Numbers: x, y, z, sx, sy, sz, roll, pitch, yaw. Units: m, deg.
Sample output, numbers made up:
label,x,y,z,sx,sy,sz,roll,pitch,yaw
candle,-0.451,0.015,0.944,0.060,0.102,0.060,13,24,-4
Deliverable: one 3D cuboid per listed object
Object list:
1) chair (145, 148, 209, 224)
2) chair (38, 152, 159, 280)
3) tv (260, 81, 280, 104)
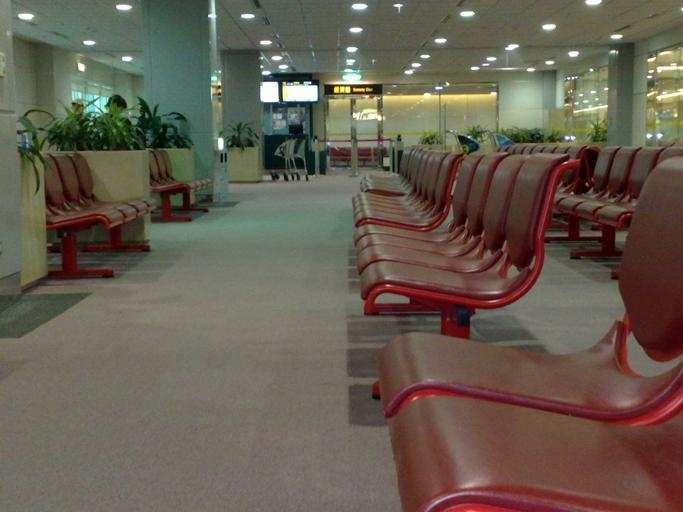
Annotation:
label,x,y,z,sx,sy,sz,roll,pitch,yaw
chair,-2.795,-1.201,7.972,0.817,1.071,1.718,0,12,-7
chair,-2.510,-0.480,4.848,0.830,0.993,1.628,5,11,-13
tv,-3.008,-6.927,20.137,0.734,0.885,0.915,-4,18,-5
